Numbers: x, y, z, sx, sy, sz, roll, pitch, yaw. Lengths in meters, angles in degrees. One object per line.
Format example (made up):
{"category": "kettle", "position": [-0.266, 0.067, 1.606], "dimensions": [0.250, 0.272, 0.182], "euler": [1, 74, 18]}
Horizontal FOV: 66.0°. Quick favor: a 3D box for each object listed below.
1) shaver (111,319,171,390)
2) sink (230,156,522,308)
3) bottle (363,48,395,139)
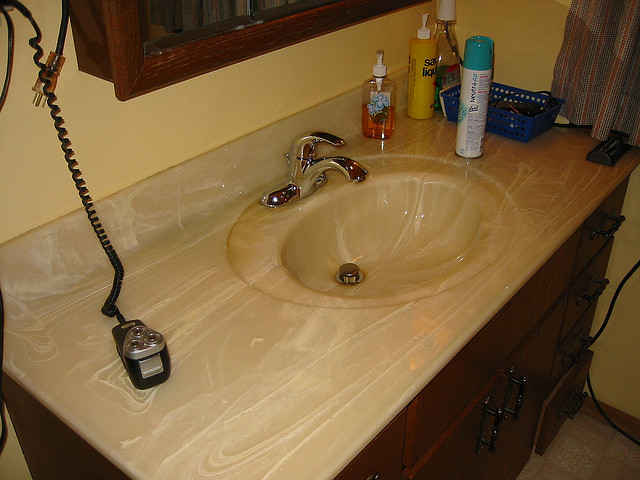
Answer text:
{"category": "shaver", "position": [-0.285, 0.170, 0.782], "dimensions": [0.068, 0.081, 0.125], "euler": [-18, 32, -33]}
{"category": "sink", "position": [0.165, 0.000, 1.122], "dimensions": [0.443, 0.172, 0.354], "euler": [-32, 53, -26]}
{"category": "bottle", "position": [0.158, -0.383, 1.306], "dimensions": [0.087, 0.247, 0.092], "euler": [-2, 33, 1]}
